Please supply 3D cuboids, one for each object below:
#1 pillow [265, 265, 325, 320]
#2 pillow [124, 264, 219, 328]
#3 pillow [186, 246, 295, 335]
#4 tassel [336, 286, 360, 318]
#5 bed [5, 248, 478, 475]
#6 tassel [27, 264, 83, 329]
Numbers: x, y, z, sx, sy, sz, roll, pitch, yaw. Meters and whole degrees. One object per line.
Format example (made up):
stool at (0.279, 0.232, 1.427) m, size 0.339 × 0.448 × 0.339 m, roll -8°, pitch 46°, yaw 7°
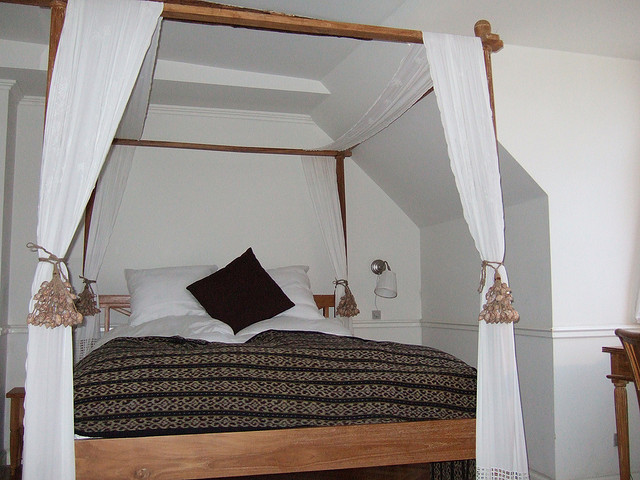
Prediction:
pillow at (-0.208, 0.453, 4.418) m, size 0.444 × 0.451 × 0.132 m, roll 17°, pitch -57°, yaw -44°
pillow at (-1.289, 0.422, 4.207) m, size 0.757 × 0.496 × 0.586 m, roll 5°, pitch -1°, yaw -24°
pillow at (-0.638, 0.429, 4.045) m, size 0.647 × 0.606 × 0.194 m, roll -39°, pitch -14°, yaw -29°
tassel at (0.274, 0.591, 4.740) m, size 0.231 × 0.282 × 0.231 m, roll -2°, pitch 0°, yaw 32°
bed at (-0.460, 0.706, 3.663) m, size 2.503 × 1.467 × 2.041 m, roll 3°, pitch -10°, yaw -15°
tassel at (-1.322, 0.272, 2.442) m, size 0.283 × 0.326 × 0.029 m, roll -1°, pitch -4°, yaw -1°
